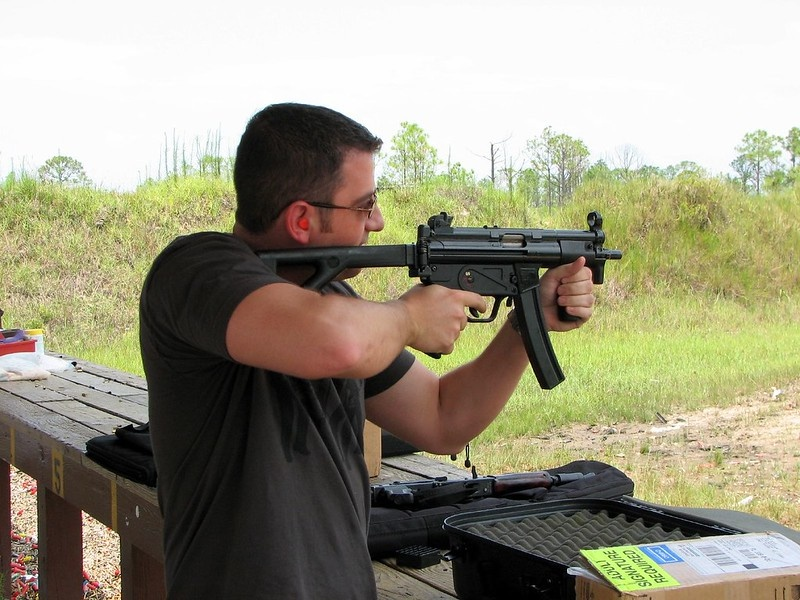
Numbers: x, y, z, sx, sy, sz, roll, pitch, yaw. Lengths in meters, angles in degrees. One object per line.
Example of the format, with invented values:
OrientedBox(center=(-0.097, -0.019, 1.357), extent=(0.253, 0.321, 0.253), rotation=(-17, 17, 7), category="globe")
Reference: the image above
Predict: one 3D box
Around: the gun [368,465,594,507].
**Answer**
OrientedBox(center=(0.352, 0.838, 3.425), extent=(0.875, 0.240, 0.149), rotation=(1, -13, -12), category="gun")

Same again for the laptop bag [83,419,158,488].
OrientedBox(center=(-1.297, 0.731, 3.638), extent=(0.354, 0.112, 0.362), rotation=(8, 7, -45), category="laptop bag")
